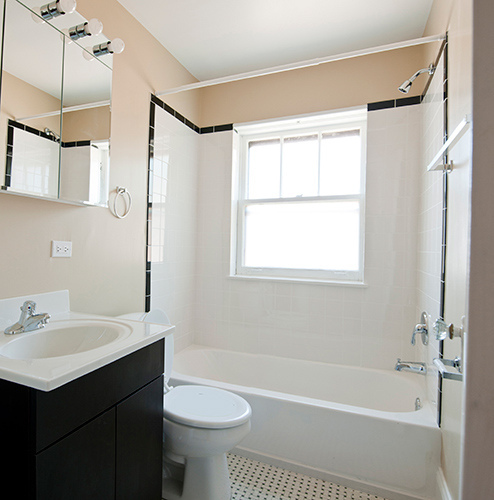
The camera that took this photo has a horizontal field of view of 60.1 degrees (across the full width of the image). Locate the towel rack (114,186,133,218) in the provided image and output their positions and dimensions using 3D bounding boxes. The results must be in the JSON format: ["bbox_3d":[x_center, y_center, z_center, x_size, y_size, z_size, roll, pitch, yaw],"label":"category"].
[{"bbox_3d":[-0.678,-0.272,2.365,0.039,0.146,0.096,-2,-1,20],"label":"towel rack"}]

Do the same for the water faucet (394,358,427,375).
[{"bbox_3d":[0.838,0.602,2.184,0.153,0.091,0.105,3,-3,11],"label":"water faucet"}]

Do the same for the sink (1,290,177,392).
[{"bbox_3d":[-0.705,0.319,1.613,0.628,0.220,0.618,5,3,28],"label":"sink"}]

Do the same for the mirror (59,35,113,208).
[{"bbox_3d":[-0.757,-0.591,2.035,0.076,0.745,0.350,3,2,14],"label":"mirror"}]

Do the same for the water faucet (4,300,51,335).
[{"bbox_3d":[-0.839,0.269,1.646,0.114,0.140,0.132,11,7,29],"label":"water faucet"}]

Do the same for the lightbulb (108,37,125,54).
[{"bbox_3d":[-0.613,-0.963,2.005,0.055,0.074,0.071,1,3,-39],"label":"lightbulb"}]

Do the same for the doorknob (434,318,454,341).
[{"bbox_3d":[0.695,0.289,1.559,0.103,0.082,0.057,2,-10,5],"label":"doorknob"}]

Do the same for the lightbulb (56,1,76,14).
[{"bbox_3d":[-0.731,-0.986,1.742,0.049,0.064,0.060,11,34,9],"label":"lightbulb"}]

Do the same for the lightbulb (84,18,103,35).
[{"bbox_3d":[-0.678,-0.966,1.857,0.104,0.060,0.061,4,3,16],"label":"lightbulb"}]
